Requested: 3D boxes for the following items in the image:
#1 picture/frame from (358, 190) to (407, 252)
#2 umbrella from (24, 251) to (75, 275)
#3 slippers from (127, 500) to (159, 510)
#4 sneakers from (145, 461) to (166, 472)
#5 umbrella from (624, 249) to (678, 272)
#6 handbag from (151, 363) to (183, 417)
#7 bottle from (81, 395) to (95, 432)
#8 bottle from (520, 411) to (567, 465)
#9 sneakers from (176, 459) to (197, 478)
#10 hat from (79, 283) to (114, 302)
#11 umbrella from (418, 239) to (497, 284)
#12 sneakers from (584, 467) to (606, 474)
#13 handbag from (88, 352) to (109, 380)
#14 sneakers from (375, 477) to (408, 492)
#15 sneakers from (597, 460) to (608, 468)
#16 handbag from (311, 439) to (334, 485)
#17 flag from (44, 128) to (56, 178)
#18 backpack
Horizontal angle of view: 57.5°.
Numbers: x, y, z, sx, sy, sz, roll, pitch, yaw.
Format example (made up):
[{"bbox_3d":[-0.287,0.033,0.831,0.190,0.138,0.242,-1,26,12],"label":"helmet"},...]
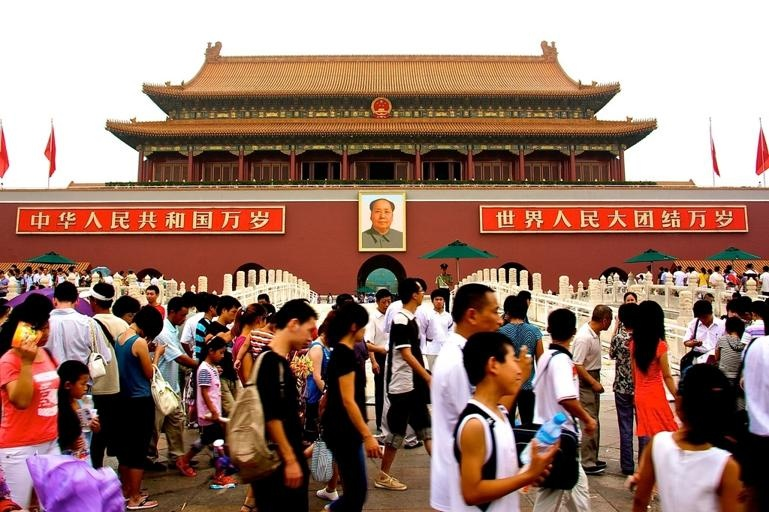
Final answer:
[{"bbox_3d":[-0.101,-1.188,24.763,2.130,2.646,0.189,0,-6,-4],"label":"picture/frame"},{"bbox_3d":[-10.511,0.180,21.967,1.477,0.737,1.474,-1,-5,-6],"label":"umbrella"},{"bbox_3d":[-2.203,2.251,6.387,0.251,0.101,0.094,-1,-3,-7],"label":"slippers"},{"bbox_3d":[-2.352,2.151,7.201,0.206,0.111,0.218,2,-8,-21],"label":"sneakers"},{"bbox_3d":[7.958,0.085,21.134,1.169,0.599,1.212,-10,-3,44],"label":"umbrella"},{"bbox_3d":[-2.193,1.356,7.014,0.270,0.503,0.481,2,-8,-16],"label":"handbag"},{"bbox_3d":[-2.527,1.337,5.921,0.120,0.296,0.151,6,-10,-37],"label":"bottle"},{"bbox_3d":[1.079,1.257,4.782,0.314,0.345,0.159,-2,-8,12],"label":"bottle"},{"bbox_3d":[-2.016,2.145,7.109,0.202,0.168,0.290,2,-8,-20],"label":"sneakers"},{"bbox_3d":[-2.753,0.348,6.792,0.211,0.200,0.389,2,-8,-18],"label":"hat"},{"bbox_3d":[1.801,-0.061,17.978,1.650,1.205,1.657,-1,-7,-6],"label":"umbrella"},{"bbox_3d":[2.061,2.123,6.898,0.212,0.085,0.079,-2,-3,-1],"label":"sneakers"},{"bbox_3d":[-2.582,0.987,6.277,0.229,0.227,0.136,-7,3,16],"label":"handbag"},{"bbox_3d":[0.052,2.171,6.661,0.236,0.086,0.133,2,1,2],"label":"sneakers"},{"bbox_3d":[2.189,2.096,7.024,0.052,0.082,0.252,-4,-8,24],"label":"sneakers"},{"bbox_3d":[-0.528,1.862,6.310,0.212,0.398,0.251,7,-11,-43],"label":"handbag"},{"bbox_3d":[-12.020,-3.757,25.161,0.285,1.985,2.022,4,-9,-27],"label":"flag"},{"bbox_3d":[-0.973,1.199,5.238,0.396,0.972,0.105,2,-8,-14],"label":"backpack"}]
